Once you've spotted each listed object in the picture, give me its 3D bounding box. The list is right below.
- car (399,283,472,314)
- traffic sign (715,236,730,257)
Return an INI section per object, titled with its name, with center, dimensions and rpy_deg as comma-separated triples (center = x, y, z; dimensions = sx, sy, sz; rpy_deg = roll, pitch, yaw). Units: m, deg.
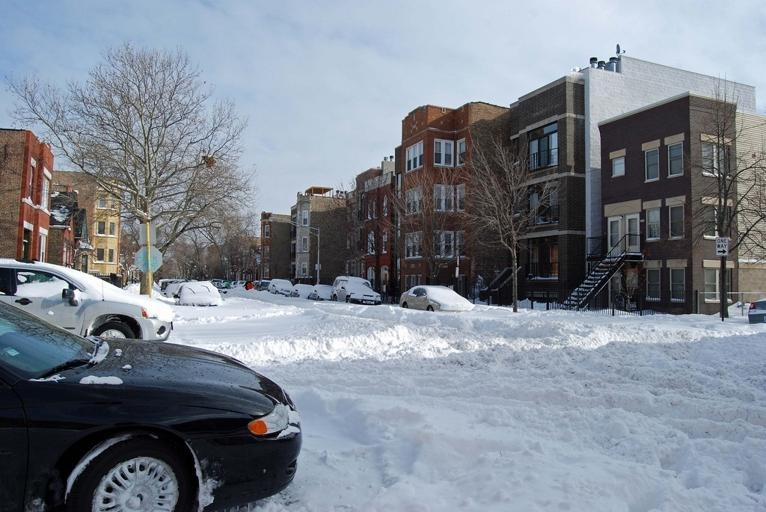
[car]
center = 2.095, 1.904, 27.404
dimensions = 1.664, 1.131, 3.323
rpy_deg = 6, 10, -30
[traffic sign]
center = 10.786, -0.312, 21.761
dimensions = 0.419, 0.496, 0.754
rpy_deg = 15, 9, 25
